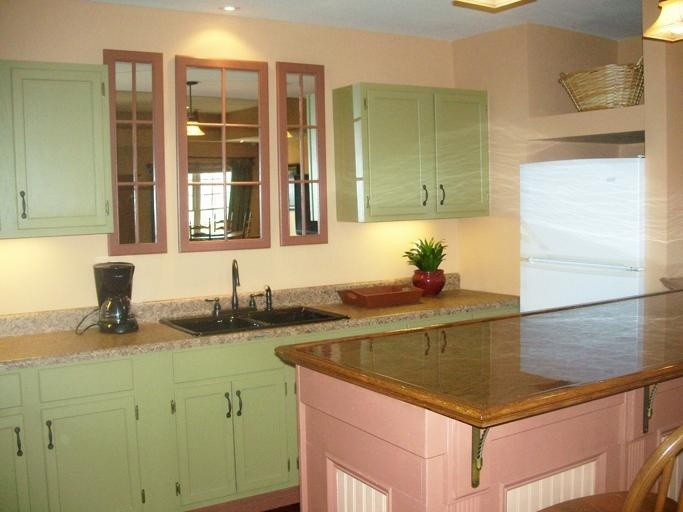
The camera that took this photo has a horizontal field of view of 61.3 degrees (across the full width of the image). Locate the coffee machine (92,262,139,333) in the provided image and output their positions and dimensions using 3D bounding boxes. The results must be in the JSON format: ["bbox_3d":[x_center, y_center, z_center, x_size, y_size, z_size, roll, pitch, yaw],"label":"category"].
[{"bbox_3d":[-1.370,0.244,3.419,0.275,0.408,0.165,0,8,24],"label":"coffee machine"}]

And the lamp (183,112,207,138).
[{"bbox_3d":[-0.943,-0.871,3.761,0.142,0.128,0.138,-1,1,-8],"label":"lamp"}]

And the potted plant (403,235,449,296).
[{"bbox_3d":[0.655,0.094,4.475,0.344,0.377,0.375,-2,5,31],"label":"potted plant"}]

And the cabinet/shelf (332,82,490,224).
[{"bbox_3d":[0.558,-0.784,4.402,1.330,0.970,0.498,-9,11,-35],"label":"cabinet/shelf"}]

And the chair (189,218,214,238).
[{"bbox_3d":[-0.926,-0.198,3.843,0.139,0.210,0.129,-1,14,-17],"label":"chair"}]

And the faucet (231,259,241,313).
[{"bbox_3d":[-0.714,0.184,3.876,0.071,0.343,0.186,-5,7,-9],"label":"faucet"}]

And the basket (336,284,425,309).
[{"bbox_3d":[0.328,0.286,4.097,0.386,0.097,0.247,-1,2,-38],"label":"basket"}]

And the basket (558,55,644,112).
[{"bbox_3d":[1.831,-1.178,3.982,0.390,0.281,0.588,-2,1,-43],"label":"basket"}]
